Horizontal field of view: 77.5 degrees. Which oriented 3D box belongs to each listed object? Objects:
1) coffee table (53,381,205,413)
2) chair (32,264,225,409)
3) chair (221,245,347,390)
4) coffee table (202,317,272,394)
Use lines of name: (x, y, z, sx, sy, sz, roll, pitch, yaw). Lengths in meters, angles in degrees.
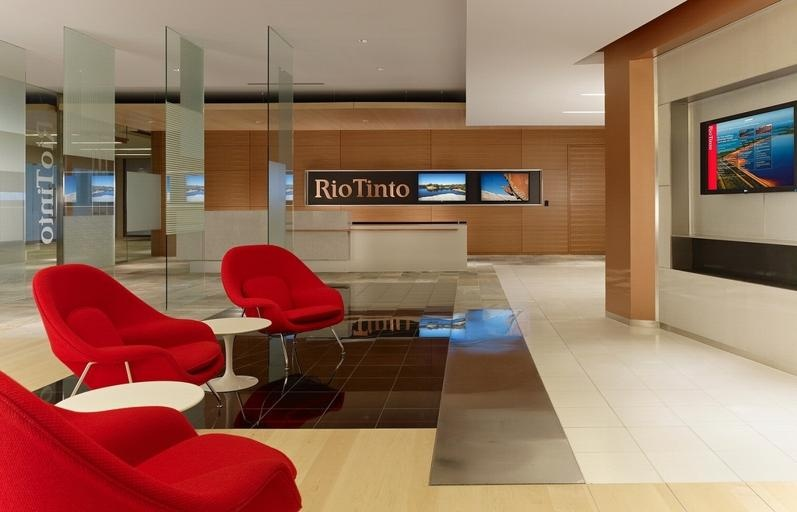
coffee table: (-1.599, 0.843, 2.960, 0.421, 0.080, 0.381, 2, 0, -4)
chair: (-2.072, 0.606, 3.873, 1.308, 0.787, 1.198, 8, 5, 5)
chair: (-1.209, 0.503, 5.247, 1.318, 1.059, 1.072, -2, 10, -43)
coffee table: (-1.531, 0.881, 4.549, 0.723, 0.472, 0.713, -6, 11, -40)
